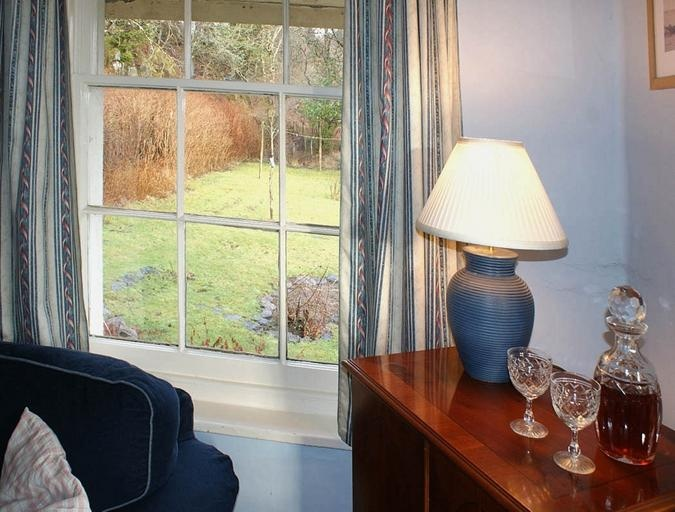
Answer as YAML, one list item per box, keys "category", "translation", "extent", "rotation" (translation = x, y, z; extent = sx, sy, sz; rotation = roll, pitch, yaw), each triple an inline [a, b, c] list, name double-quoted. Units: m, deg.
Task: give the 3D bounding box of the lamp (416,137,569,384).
- category: "lamp"
  translation: [0.455, 0.017, 1.808]
  extent: [0.370, 0.641, 0.379]
  rotation: [-2, 4, -24]

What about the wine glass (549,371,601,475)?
- category: "wine glass"
  translation: [0.592, 0.402, 1.544]
  extent: [0.113, 0.207, 0.216]
  rotation: [3, 8, 23]

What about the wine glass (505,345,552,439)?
- category: "wine glass"
  translation: [0.509, 0.352, 1.651]
  extent: [0.111, 0.202, 0.216]
  rotation: [2, 8, 16]
